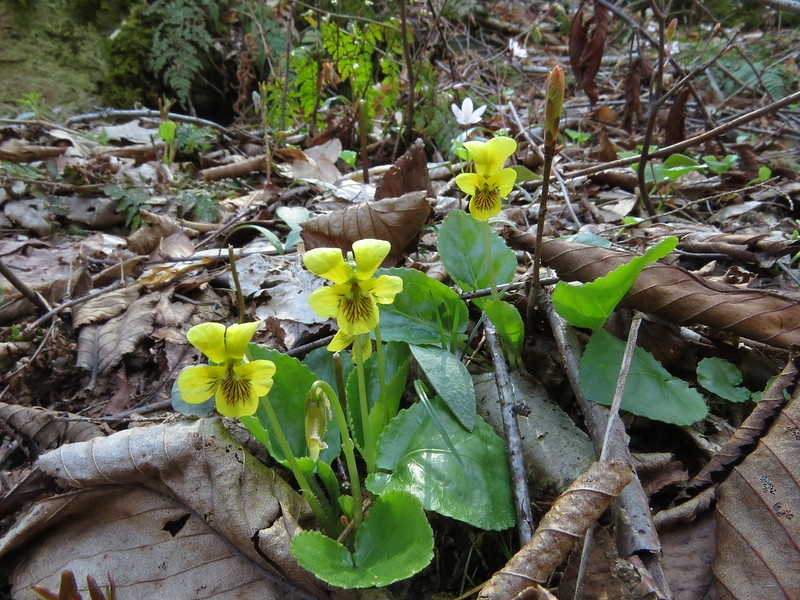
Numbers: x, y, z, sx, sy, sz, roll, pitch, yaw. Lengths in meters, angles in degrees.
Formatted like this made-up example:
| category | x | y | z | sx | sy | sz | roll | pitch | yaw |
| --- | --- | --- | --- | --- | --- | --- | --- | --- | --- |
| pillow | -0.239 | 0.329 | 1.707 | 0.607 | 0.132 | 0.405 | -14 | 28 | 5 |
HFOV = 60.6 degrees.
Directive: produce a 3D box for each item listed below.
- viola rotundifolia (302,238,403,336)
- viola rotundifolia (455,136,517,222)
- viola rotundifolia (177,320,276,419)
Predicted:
| category | x | y | z | sx | sy | sz | roll | pitch | yaw |
| --- | --- | --- | --- | --- | --- | --- | --- | --- | --- |
| viola rotundifolia | -0.163 | -0.049 | 2.319 | 0.322 | 0.294 | 0.127 | 1 | 25 | -10 |
| viola rotundifolia | 0.325 | -0.463 | 2.624 | 0.211 | 0.348 | 0.217 | 8 | 25 | 7 |
| viola rotundifolia | -0.577 | 0.178 | 2.303 | 0.309 | 0.326 | 0.135 | 10 | 9 | -16 |
